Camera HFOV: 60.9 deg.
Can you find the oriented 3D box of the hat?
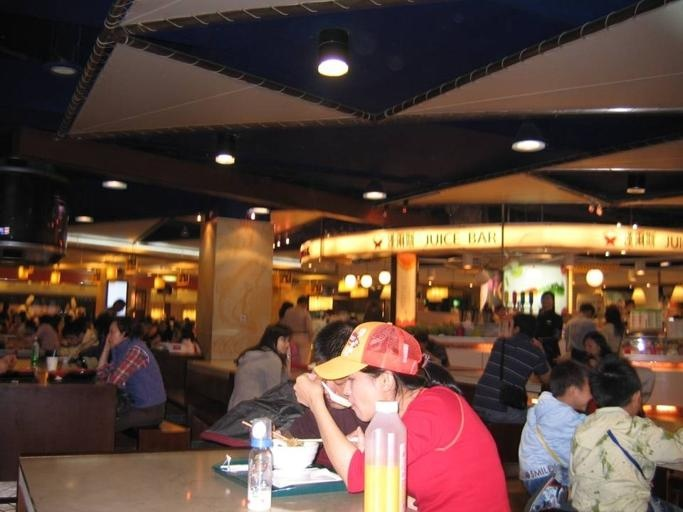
[{"bbox_3d":[0.133,0.392,2.489,0.373,0.206,0.246,3,-6,0],"label":"hat"}]

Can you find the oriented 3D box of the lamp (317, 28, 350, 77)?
[{"bbox_3d":[-0.061,-1.481,4.129,0.199,0.228,0.198,-6,11,-30],"label":"lamp"}]

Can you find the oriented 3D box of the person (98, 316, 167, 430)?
[{"bbox_3d":[-2.189,1.349,5.963,0.751,1.423,0.592,4,-4,-21],"label":"person"}]

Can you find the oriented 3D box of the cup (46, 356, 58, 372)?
[{"bbox_3d":[-2.827,1.051,5.688,0.128,0.157,0.134,0,-11,0],"label":"cup"}]

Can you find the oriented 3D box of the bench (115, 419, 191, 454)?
[{"bbox_3d":[-1.924,1.827,5.936,0.595,0.264,0.628,4,-5,-37],"label":"bench"}]

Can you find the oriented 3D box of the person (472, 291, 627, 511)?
[{"bbox_3d":[1.520,0.882,4.148,0.971,1.860,0.784,-5,11,-13],"label":"person"}]

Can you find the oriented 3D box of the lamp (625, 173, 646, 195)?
[{"bbox_3d":[3.653,-0.913,7.179,0.185,0.238,0.294,-1,-4,25],"label":"lamp"}]

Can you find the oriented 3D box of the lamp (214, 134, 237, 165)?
[{"bbox_3d":[-1.269,-1.195,6.419,0.186,0.333,0.270,2,-4,-14],"label":"lamp"}]
